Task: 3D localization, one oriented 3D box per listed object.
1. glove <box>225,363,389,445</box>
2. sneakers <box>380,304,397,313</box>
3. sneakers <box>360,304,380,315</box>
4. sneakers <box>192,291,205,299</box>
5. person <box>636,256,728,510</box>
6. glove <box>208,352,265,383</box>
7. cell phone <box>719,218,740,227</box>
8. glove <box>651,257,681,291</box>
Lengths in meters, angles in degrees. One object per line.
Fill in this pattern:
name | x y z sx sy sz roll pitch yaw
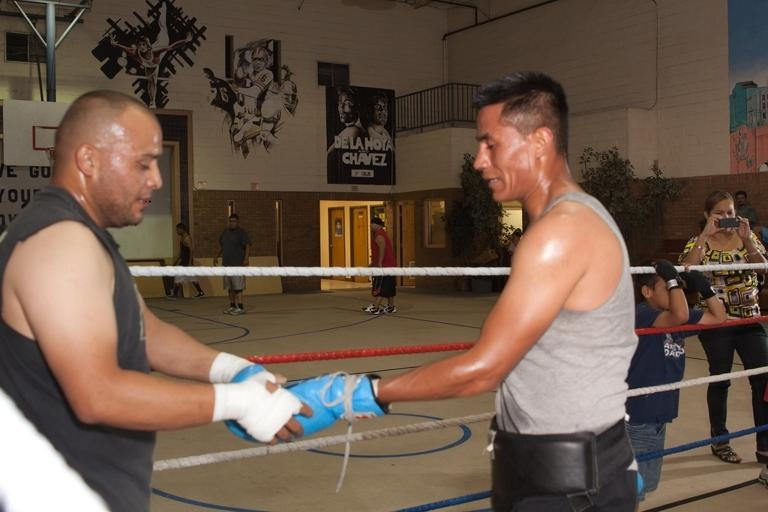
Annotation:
glove | -0.232 0.442 2.024 0.461 0.170 0.220 -4 34 2
sneakers | 0.081 1.006 12.044 0.315 0.131 0.121 5 -5 -41
sneakers | -0.260 1.008 11.967 0.383 0.177 0.140 3 -2 4
sneakers | -4.490 0.957 15.467 0.259 0.178 0.093 1 3 -2
person | 1.655 0.782 3.635 0.491 1.557 0.852 0 6 28
glove | -0.499 0.378 2.149 0.155 0.075 0.118 3 1 14
cell phone | 2.376 -0.230 4.411 0.127 0.065 0.297 0 5 29
glove | 1.512 0.103 3.427 0.103 0.180 0.137 -25 -24 0
